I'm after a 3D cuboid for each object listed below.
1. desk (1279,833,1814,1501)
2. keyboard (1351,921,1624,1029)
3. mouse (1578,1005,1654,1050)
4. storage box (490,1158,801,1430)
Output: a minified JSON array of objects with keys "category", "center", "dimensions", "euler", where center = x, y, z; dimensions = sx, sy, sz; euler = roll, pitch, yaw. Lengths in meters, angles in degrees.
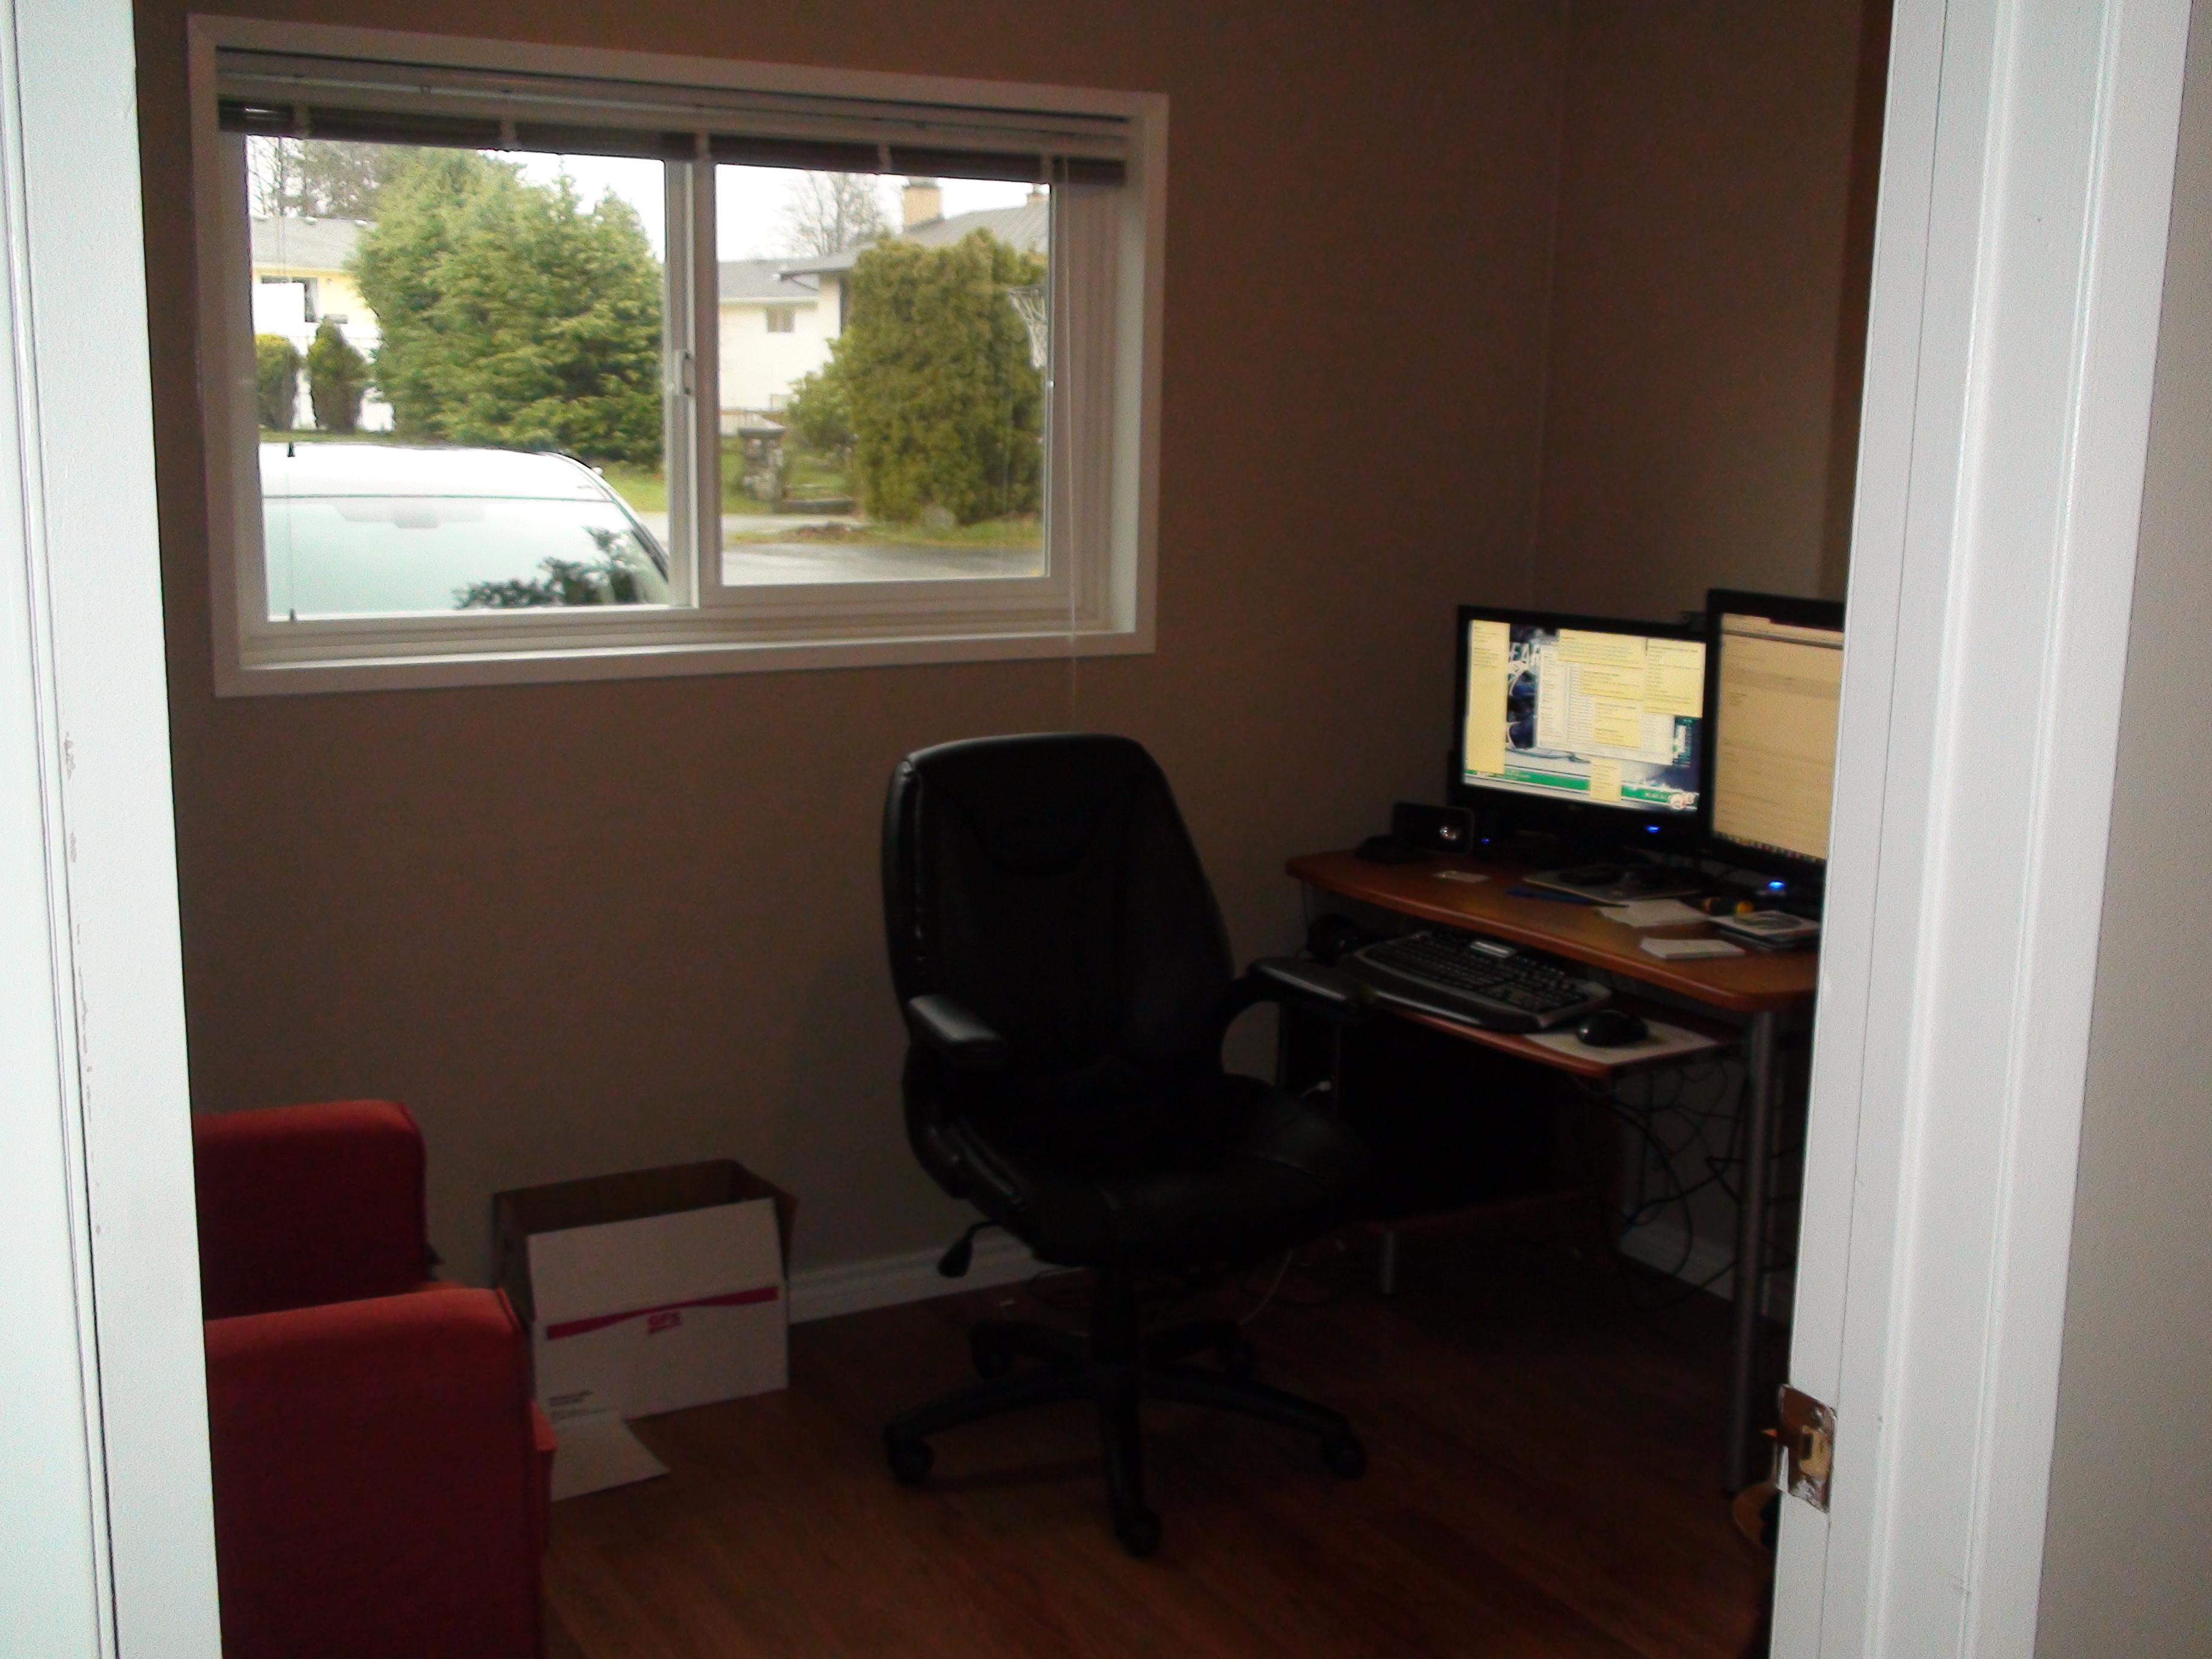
[{"category":"desk","center":[0.840,0.346,3.211],"dimensions":[0.787,0.824,1.567],"euler":[-2,9,-18]},{"category":"keyboard","center":[0.655,0.275,3.170],"dimensions":[0.183,0.065,0.295],"euler":[-12,19,-38]},{"category":"mouse","center":[0.862,0.333,2.998],"dimensions":[0.088,0.032,0.064],"euler":[-3,7,-18]},{"category":"storage box","center":[-0.811,0.843,3.160],"dimensions":[0.554,0.428,0.395],"euler":[-5,13,-24]}]
